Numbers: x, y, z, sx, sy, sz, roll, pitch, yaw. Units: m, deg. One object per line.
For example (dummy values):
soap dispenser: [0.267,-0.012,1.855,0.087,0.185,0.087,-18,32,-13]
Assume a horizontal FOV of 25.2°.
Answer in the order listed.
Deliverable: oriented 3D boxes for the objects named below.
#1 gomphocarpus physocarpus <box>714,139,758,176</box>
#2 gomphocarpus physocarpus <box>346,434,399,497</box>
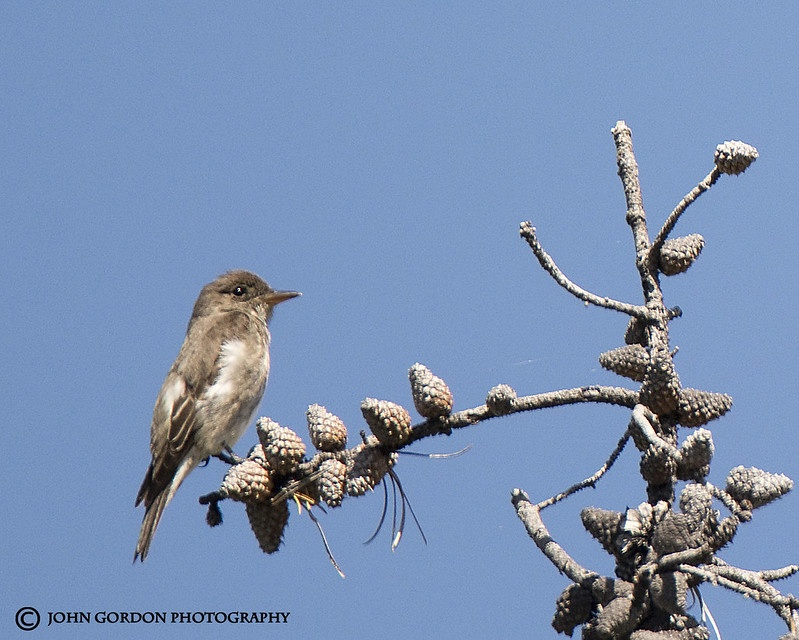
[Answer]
gomphocarpus physocarpus: [1.697,-0.824,8.993,0.196,0.225,0.388,6,-8,10]
gomphocarpus physocarpus: [-0.140,0.708,9.462,0.185,0.192,0.370,3,18,30]
